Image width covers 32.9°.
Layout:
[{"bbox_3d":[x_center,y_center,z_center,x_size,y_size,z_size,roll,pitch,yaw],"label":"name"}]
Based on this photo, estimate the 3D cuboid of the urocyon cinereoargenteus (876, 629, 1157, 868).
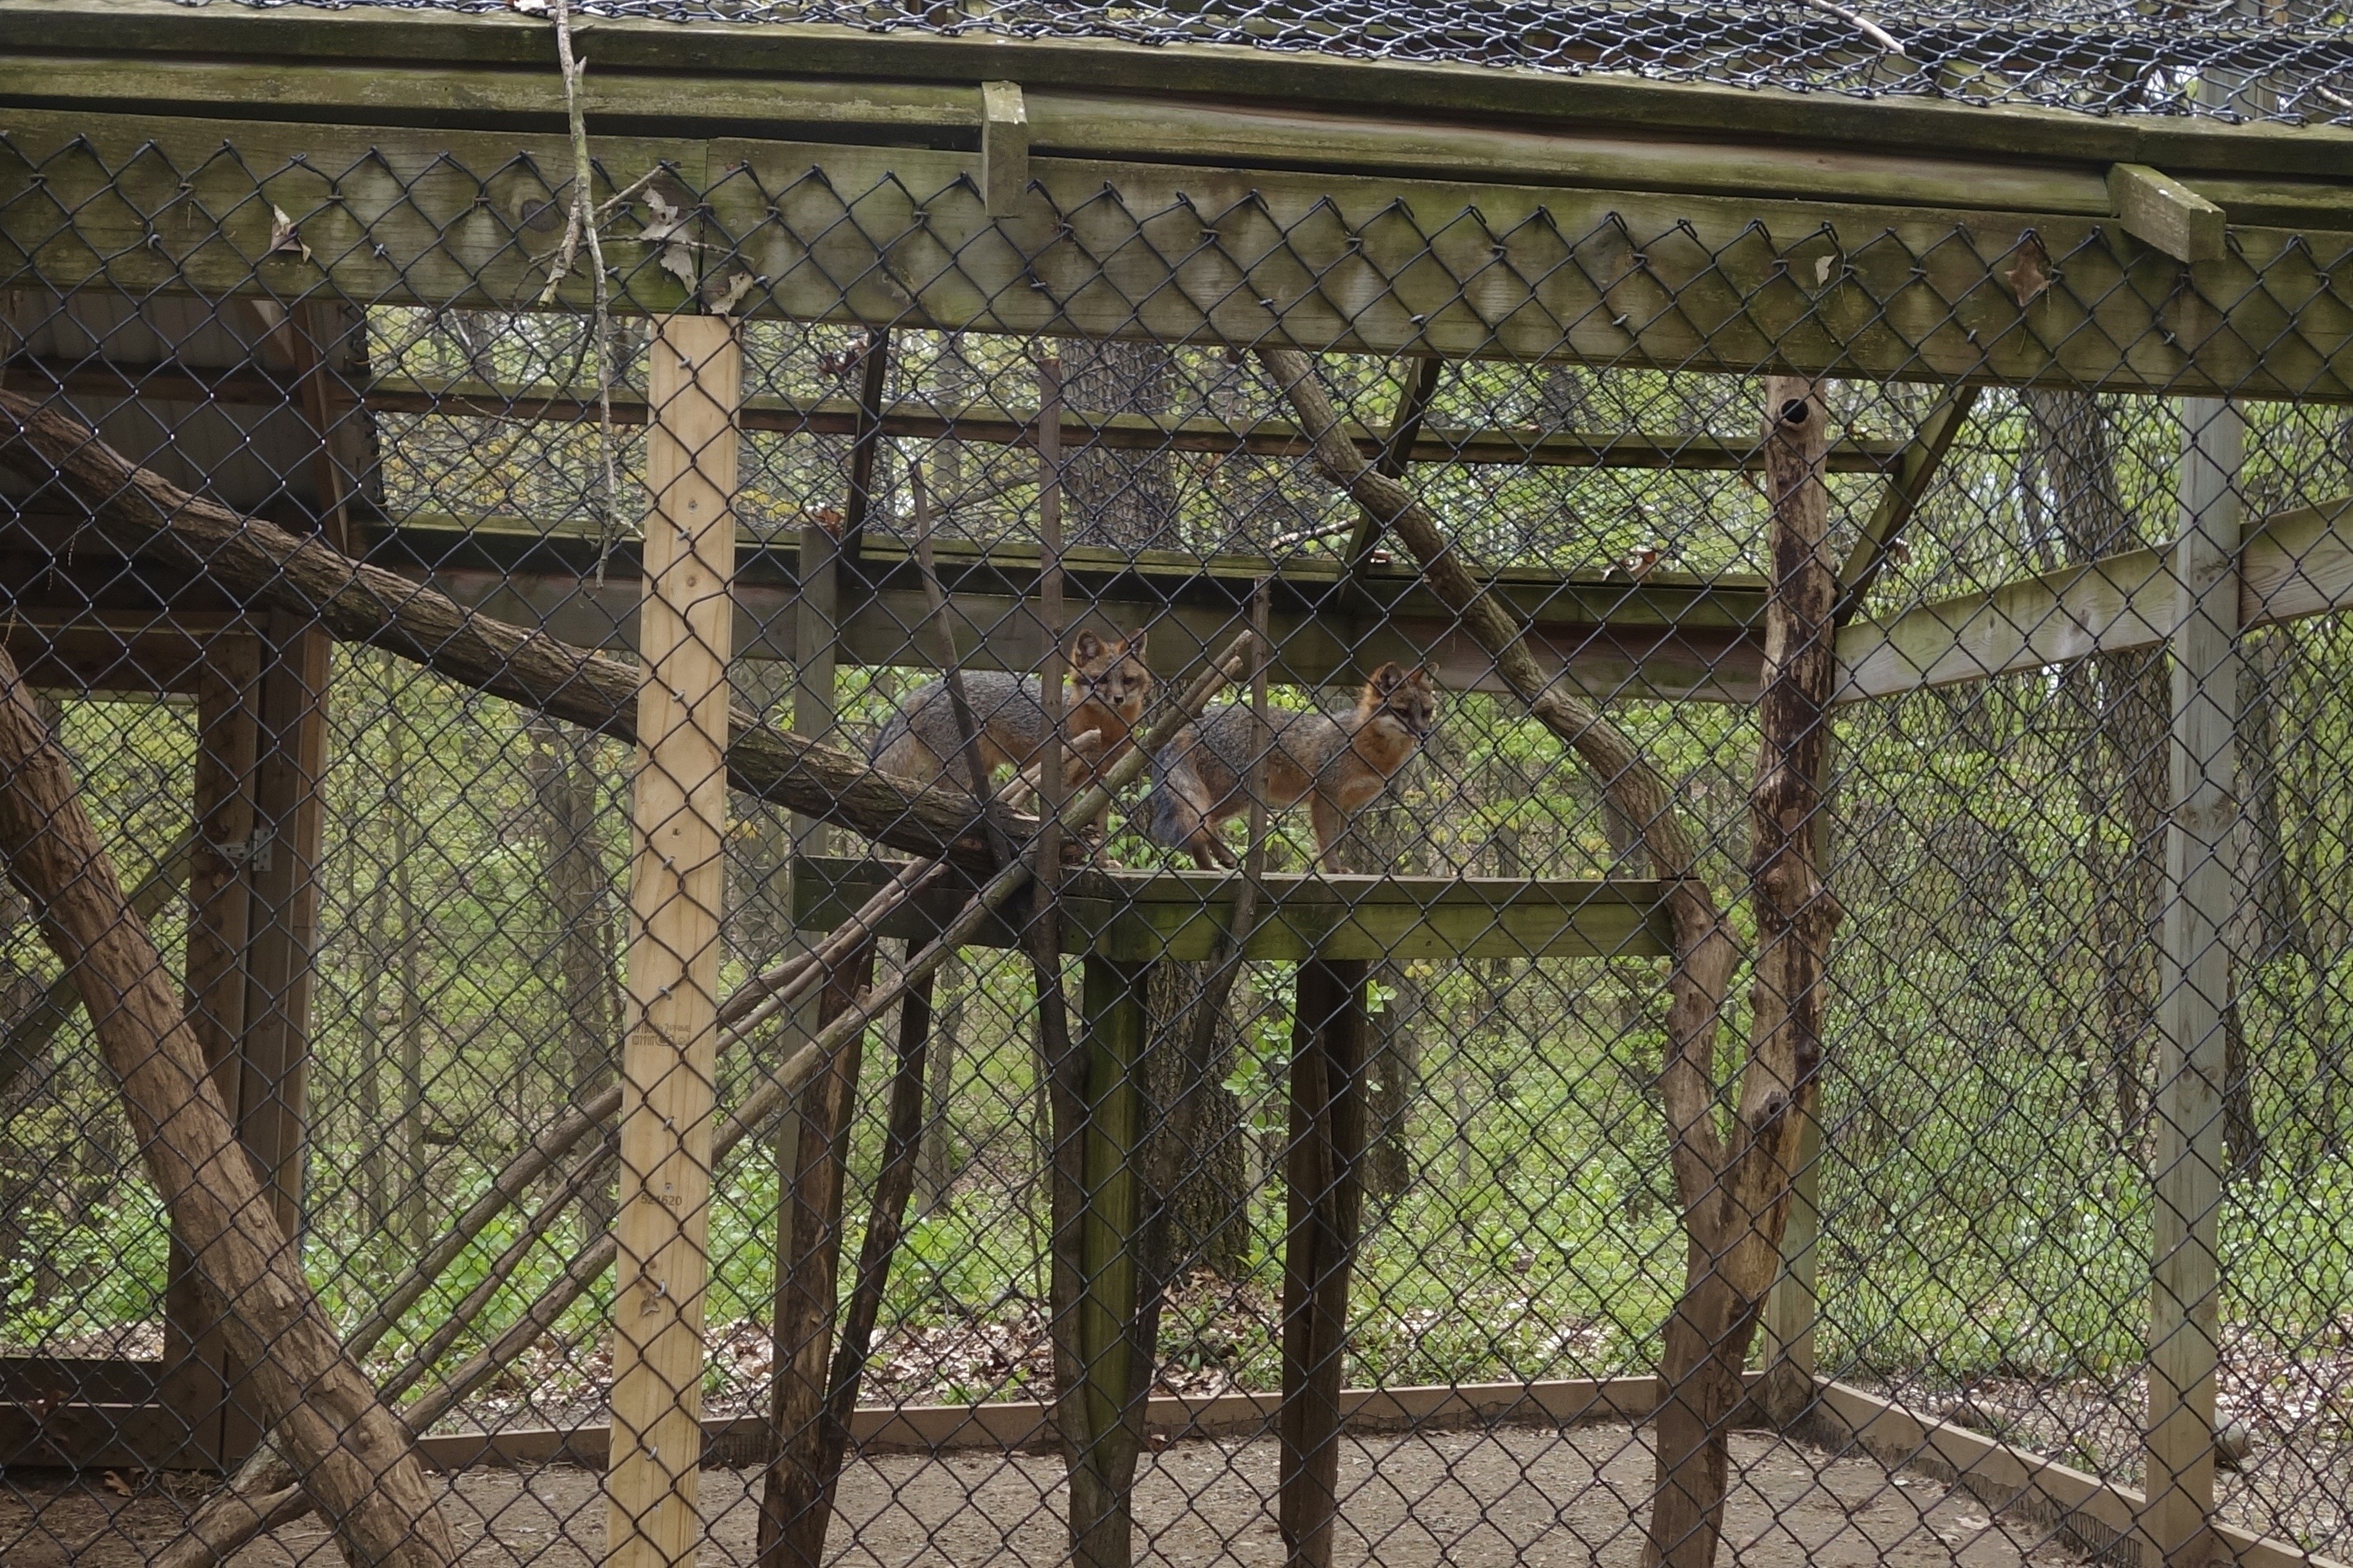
[{"bbox_3d":[-0.618,-0.178,14.234,1.384,0.882,0.307,-1,26,33],"label":"urocyon cinereoargenteus"}]
